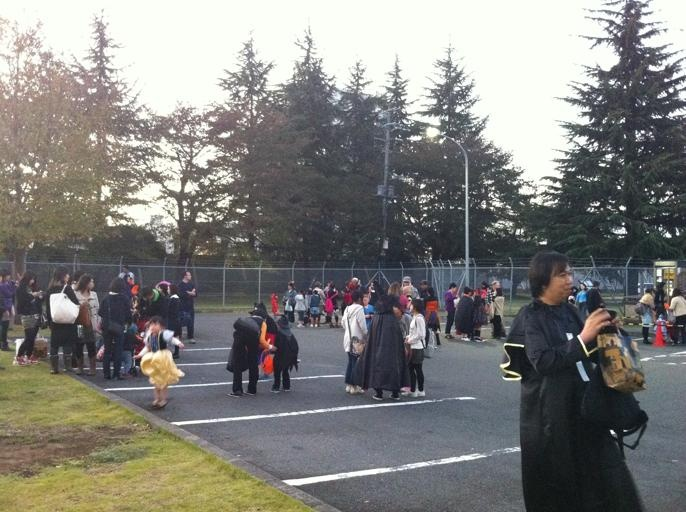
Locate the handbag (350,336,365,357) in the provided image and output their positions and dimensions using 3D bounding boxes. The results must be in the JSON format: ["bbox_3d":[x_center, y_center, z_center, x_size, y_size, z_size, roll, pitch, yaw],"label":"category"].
[{"bbox_3d":[0.286,1.745,13.876,0.260,0.366,0.199,2,4,-2],"label":"handbag"}]

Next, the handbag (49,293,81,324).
[{"bbox_3d":[-5.635,1.065,14.641,0.520,0.690,0.294,0,5,-25],"label":"handbag"}]

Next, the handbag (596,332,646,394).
[{"bbox_3d":[2.738,1.051,7.107,0.449,0.583,0.253,3,4,20],"label":"handbag"}]

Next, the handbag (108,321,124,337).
[{"bbox_3d":[-4.586,1.476,14.605,0.342,0.258,0.085,20,-22,-9],"label":"handbag"}]

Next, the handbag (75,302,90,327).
[{"bbox_3d":[-5.388,1.215,14.902,0.464,0.489,0.186,-1,-7,8],"label":"handbag"}]
